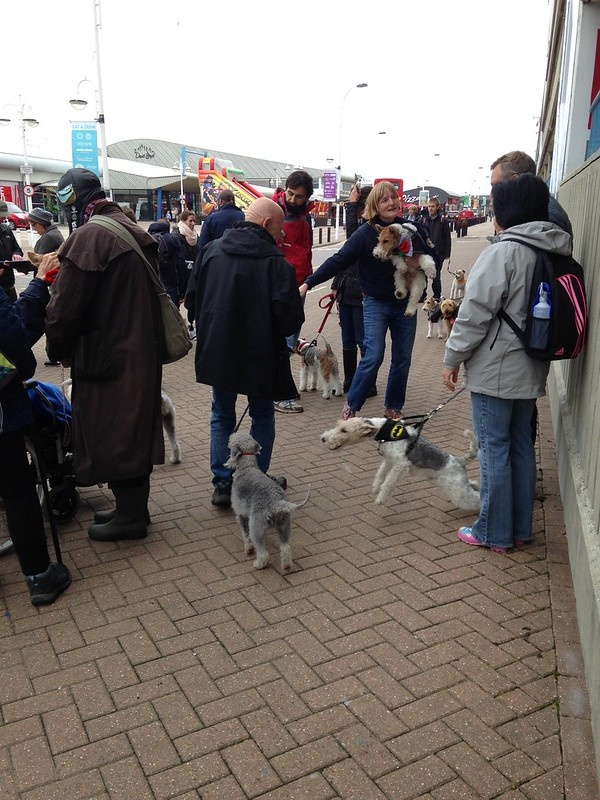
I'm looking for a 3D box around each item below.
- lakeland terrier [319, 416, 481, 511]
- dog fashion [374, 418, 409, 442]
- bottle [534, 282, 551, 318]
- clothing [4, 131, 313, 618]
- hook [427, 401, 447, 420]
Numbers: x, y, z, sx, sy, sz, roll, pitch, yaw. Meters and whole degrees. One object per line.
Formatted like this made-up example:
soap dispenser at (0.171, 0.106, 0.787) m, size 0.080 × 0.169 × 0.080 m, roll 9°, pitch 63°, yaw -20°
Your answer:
lakeland terrier at (0.732, 0.460, 4.027) m, size 1.221 × 0.545 × 0.370 m, roll 12°, pitch -3°, yaw -2°
dog fashion at (0.606, 0.207, 3.917) m, size 0.136 × 0.130 × 0.180 m, roll -14°, pitch -3°, yaw -7°
bottle at (1.245, -0.514, 3.012) m, size 0.065 × 0.186 × 0.068 m, roll 0°, pitch 13°, yaw 0°
clothing at (-0.909, -0.242, 3.578) m, size 2.028 × 2.237 × 0.907 m, roll -12°, pitch 17°, yaw -43°
hook at (1.363, 0.116, 5.887) m, size 0.253 × 0.085 × 0.066 m, roll -40°, pitch 16°, yaw 6°
